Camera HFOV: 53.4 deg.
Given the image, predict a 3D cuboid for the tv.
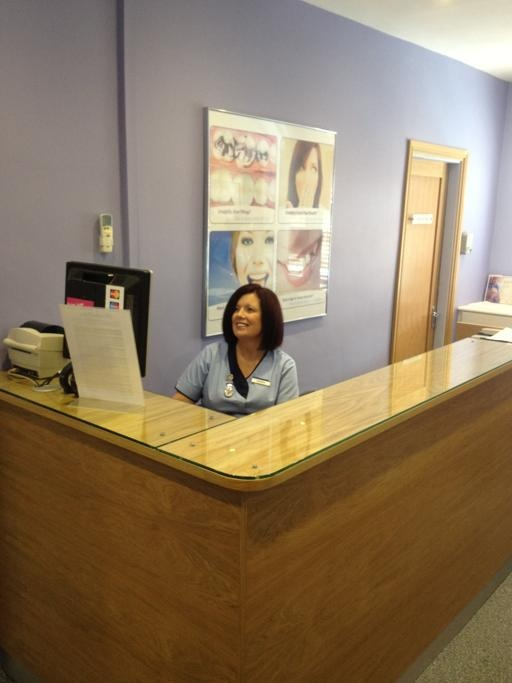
[{"bbox_3d":[-0.470,-0.064,1.675,0.302,0.317,0.165,7,14,12],"label":"tv"}]
